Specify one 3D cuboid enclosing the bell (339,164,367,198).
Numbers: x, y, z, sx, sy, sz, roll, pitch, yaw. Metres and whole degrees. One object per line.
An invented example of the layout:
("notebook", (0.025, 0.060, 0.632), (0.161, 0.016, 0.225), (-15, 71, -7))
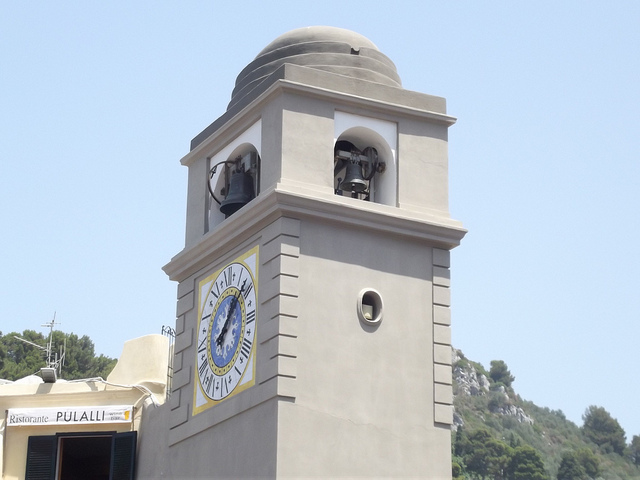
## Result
("bell", (0.929, -1.761, 38.995), (0.677, 0.862, 0.777), (-3, -42, 7))
